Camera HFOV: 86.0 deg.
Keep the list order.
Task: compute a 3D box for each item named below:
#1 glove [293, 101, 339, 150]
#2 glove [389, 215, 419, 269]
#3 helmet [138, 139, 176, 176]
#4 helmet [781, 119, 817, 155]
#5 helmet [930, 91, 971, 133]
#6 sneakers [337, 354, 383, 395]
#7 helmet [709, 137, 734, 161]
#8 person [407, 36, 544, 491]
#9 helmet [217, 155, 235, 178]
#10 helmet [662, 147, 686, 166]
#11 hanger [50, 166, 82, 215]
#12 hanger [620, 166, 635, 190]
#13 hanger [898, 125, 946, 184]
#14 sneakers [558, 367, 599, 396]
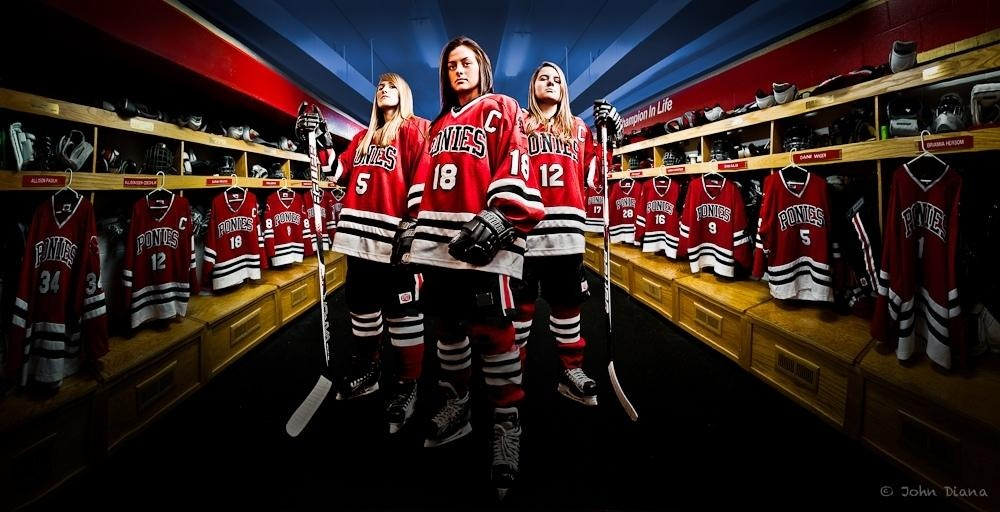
[{"bbox_3d":[-1.590,-1.227,5.014,0.686,0.355,0.189,19,18,37],"label":"glove"},{"bbox_3d":[-0.829,-0.114,4.585,0.223,0.497,0.182,6,-7,42],"label":"glove"},{"bbox_3d":[-3.306,-0.934,5.303,0.335,0.322,0.302,9,8,-12],"label":"helmet"},{"bbox_3d":[2.875,-1.156,5.292,0.257,0.308,0.315,-32,-53,21],"label":"helmet"},{"bbox_3d":[3.905,-1.217,4.708,0.265,0.389,0.252,11,-8,40],"label":"helmet"},{"bbox_3d":[-1.277,1.111,4.869,0.216,0.238,0.545,1,-9,3],"label":"sneakers"},{"bbox_3d":[2.377,-1.145,5.880,0.295,0.255,0.207,4,-10,-1],"label":"helmet"},{"bbox_3d":[-0.185,0.070,4.403,1.031,3.675,0.535,1,6,3],"label":"person"},{"bbox_3d":[-2.948,-0.959,5.800,0.210,0.207,0.200,-7,-2,33],"label":"helmet"},{"bbox_3d":[2.092,-1.173,6.520,0.227,0.226,0.264,-4,-12,22],"label":"helmet"},{"bbox_3d":[-3.742,-0.535,4.635,0.162,0.398,0.170,5,8,34],"label":"hanger"},{"bbox_3d":[1.647,-0.993,6.996,0.317,0.328,0.016,-6,-10,43],"label":"hanger"},{"bbox_3d":[3.612,-0.818,4.581,0.302,0.479,0.130,5,8,35],"label":"hanger"},{"bbox_3d":[0.708,1.156,4.912,0.348,0.229,0.237,2,7,9],"label":"sneakers"}]
